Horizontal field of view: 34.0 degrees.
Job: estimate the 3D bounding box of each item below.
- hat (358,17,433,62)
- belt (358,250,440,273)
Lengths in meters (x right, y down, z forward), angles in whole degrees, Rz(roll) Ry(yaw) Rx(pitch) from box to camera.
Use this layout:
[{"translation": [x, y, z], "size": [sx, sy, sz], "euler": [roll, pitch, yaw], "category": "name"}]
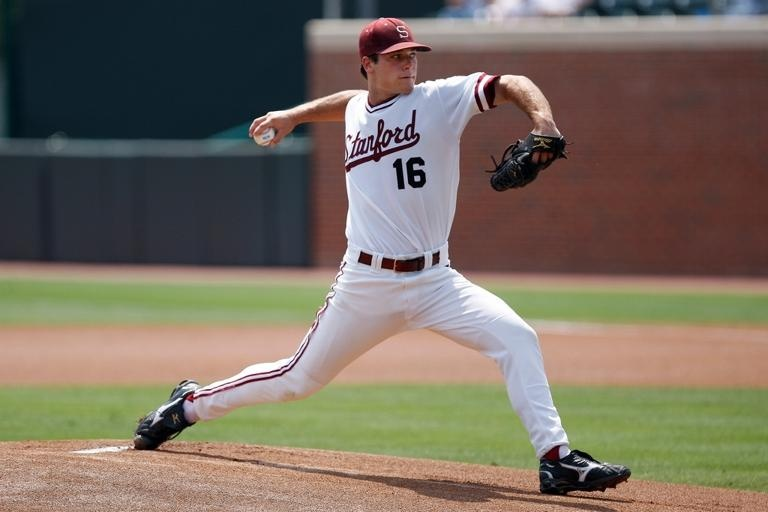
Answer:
[{"translation": [0.023, -2.190, 12.689], "size": [0.570, 0.285, 0.432], "euler": [-1, 15, 32], "category": "hat"}, {"translation": [0.152, 0.057, 12.578], "size": [0.812, 0.202, 0.082], "euler": [0, 3, 1], "category": "belt"}]
